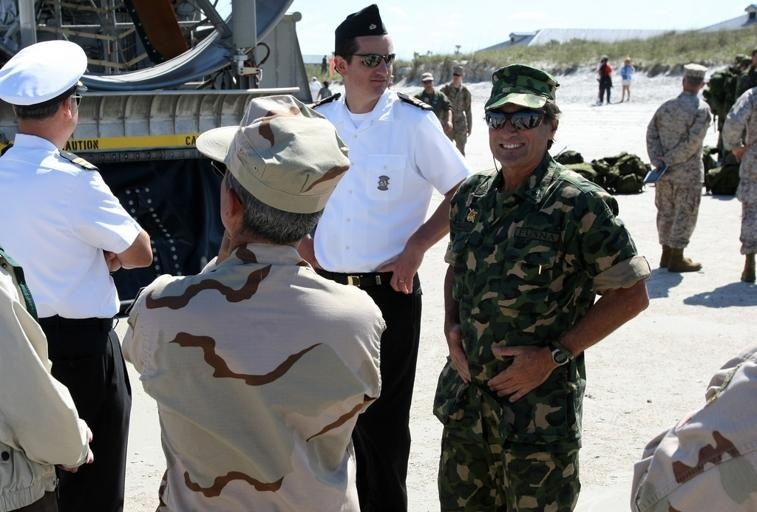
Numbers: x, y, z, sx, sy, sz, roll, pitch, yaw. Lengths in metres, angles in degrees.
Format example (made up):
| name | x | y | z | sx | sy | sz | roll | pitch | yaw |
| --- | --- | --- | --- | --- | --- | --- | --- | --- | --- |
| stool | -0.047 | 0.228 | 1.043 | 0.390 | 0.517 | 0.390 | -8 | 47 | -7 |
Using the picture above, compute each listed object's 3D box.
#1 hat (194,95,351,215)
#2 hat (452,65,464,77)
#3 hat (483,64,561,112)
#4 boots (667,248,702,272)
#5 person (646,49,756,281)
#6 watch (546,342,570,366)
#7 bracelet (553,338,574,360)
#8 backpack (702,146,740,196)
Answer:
| name | x | y | z | sx | sy | sz | roll | pitch | yaw |
| --- | --- | --- | --- | --- | --- | --- | --- | --- | --- |
| hat | -0.444 | -0.533 | 4.907 | 0.540 | 0.371 | 0.810 | -8 | 36 | -38 |
| hat | 1.199 | -2.839 | 16.507 | 0.124 | 0.097 | 0.208 | 14 | 7 | 8 |
| hat | 0.744 | -0.886 | 5.713 | 0.379 | 0.203 | 0.493 | 1 | 9 | 23 |
| boots | 2.852 | 0.020 | 10.074 | 0.362 | 0.210 | 0.259 | -2 | 13 | -13 |
| person | 2.787 | -0.847 | 10.169 | 0.570 | 1.862 | 0.872 | 4 | 14 | 13 |
| watch | 0.902 | 0.484 | 5.441 | 0.098 | 0.115 | 0.044 | -36 | -2 | 7 |
| bracelet | 0.910 | 0.474 | 5.392 | 0.075 | 0.110 | 0.104 | -2 | -2 | 8 |
| backpack | 4.381 | -1.044 | 13.869 | 0.545 | 0.668 | 0.289 | -2 | -1 | 17 |
